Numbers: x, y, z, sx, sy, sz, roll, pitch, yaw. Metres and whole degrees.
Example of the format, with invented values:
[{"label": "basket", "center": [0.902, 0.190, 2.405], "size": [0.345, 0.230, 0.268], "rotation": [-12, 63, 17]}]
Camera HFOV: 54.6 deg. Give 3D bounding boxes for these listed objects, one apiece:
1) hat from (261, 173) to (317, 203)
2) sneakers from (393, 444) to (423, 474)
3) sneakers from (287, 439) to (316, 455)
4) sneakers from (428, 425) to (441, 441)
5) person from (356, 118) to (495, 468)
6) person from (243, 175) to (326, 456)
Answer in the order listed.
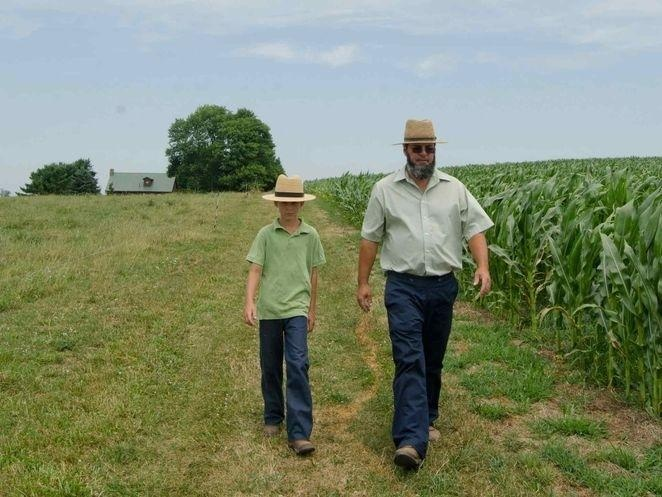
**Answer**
[{"label": "hat", "center": [-0.462, -0.592, 6.895], "size": [0.725, 0.336, 0.834], "rotation": [2, 4, -5]}, {"label": "sneakers", "center": [0.707, 1.945, 5.872], "size": [0.143, 0.184, 0.370], "rotation": [9, -32, 20]}, {"label": "sneakers", "center": [-0.286, 1.975, 6.337], "size": [0.124, 0.126, 0.253], "rotation": [10, -19, -40]}, {"label": "sneakers", "center": [1.034, 1.865, 6.436], "size": [0.116, 0.112, 0.219], "rotation": [0, 13, 1]}, {"label": "person", "center": [0.922, 0.389, 6.268], "size": [1.113, 3.189, 1.217], "rotation": [-4, 14, -28]}, {"label": "person", "center": [-0.506, 0.629, 6.506], "size": [0.730, 2.615, 0.958], "rotation": [2, 12, -3]}]
